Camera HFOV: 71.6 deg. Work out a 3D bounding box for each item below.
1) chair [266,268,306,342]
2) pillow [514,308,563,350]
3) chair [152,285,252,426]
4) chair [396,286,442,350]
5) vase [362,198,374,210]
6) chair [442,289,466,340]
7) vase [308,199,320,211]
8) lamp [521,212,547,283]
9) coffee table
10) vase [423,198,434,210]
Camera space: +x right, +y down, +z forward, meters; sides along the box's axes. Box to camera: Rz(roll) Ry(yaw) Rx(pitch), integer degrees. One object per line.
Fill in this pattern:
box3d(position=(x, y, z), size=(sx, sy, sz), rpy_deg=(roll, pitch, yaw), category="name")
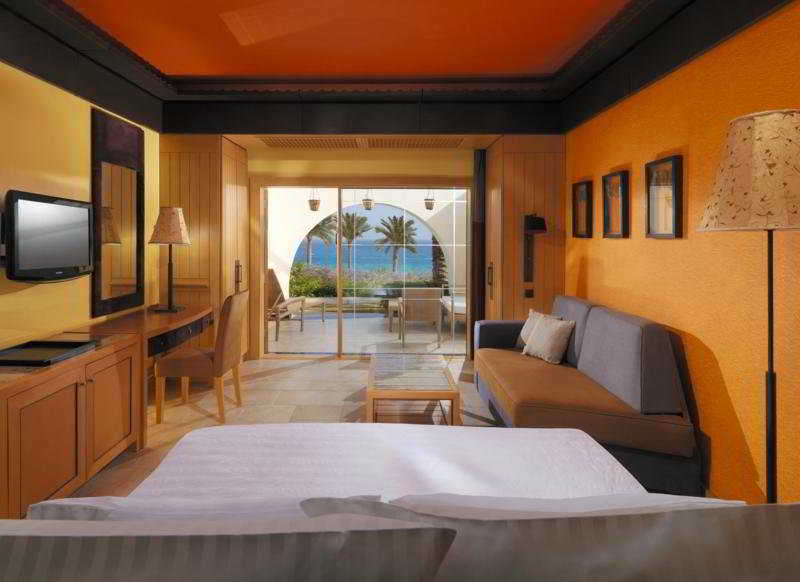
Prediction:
box3d(position=(-1.727, 0.219, 8.271), size=(0.382, 0.690, 1.058), rpy_deg=(0, 1, -9), category="chair")
box3d(position=(1.242, 0.359, 5.030), size=(0.104, 0.338, 0.354), rpy_deg=(12, 11, -11), category="pillow")
box3d(position=(-1.722, 0.549, 4.865), size=(0.689, 1.045, 0.790), rpy_deg=(1, 0, -12), category="chair")
box3d(position=(0.229, 0.295, 6.839), size=(0.619, 0.819, 0.674), rpy_deg=(0, 5, 4), category="chair")
box3d(position=(-0.391, -1.049, 6.643), size=(0.122, 0.094, 0.124), rpy_deg=(0, 4, 11), category="vase")
box3d(position=(0.648, 0.242, 6.954), size=(0.339, 0.320, 0.493), rpy_deg=(0, 7, 0), category="chair")
box3d(position=(-1.385, -1.380, 8.887), size=(0.178, 0.145, 0.178), rpy_deg=(0, -2, -6), category="vase")
box3d(position=(1.354, -0.435, 5.657), size=(0.230, 0.703, 0.350), rpy_deg=(3, 7, 14), category="lamp")
box3d(position=(0.076, 0.783, 4.570), size=(0.680, 0.275, 1.177), rpy_deg=(1, 8, -3), category="coffee table")
box3d(position=(0.348, -1.054, 6.689), size=(0.138, 0.163, 0.113), rpy_deg=(0, -3, -3), category="vase")
